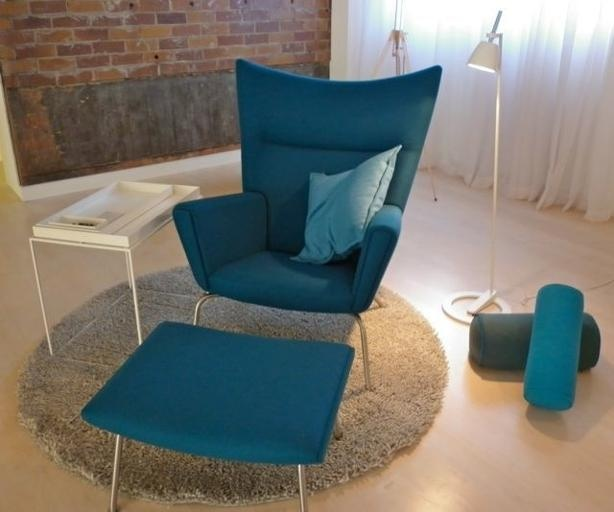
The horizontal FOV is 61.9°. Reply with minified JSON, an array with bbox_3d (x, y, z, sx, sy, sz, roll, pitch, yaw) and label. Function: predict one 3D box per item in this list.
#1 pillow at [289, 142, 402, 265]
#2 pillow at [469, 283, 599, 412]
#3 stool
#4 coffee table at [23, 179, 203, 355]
[{"bbox_3d":[0.152,-0.210,2.097,0.368,0.451,0.320,10,25,17],"label":"pillow"},{"bbox_3d":[0.872,0.328,1.936,0.395,0.401,0.557,2,48,11],"label":"pillow"},{"bbox_3d":[-0.209,0.388,1.391,0.649,0.380,0.513,8,34,8],"label":"stool"},{"bbox_3d":[-0.895,0.080,2.379,0.376,0.492,0.716,6,25,10],"label":"coffee table"}]
